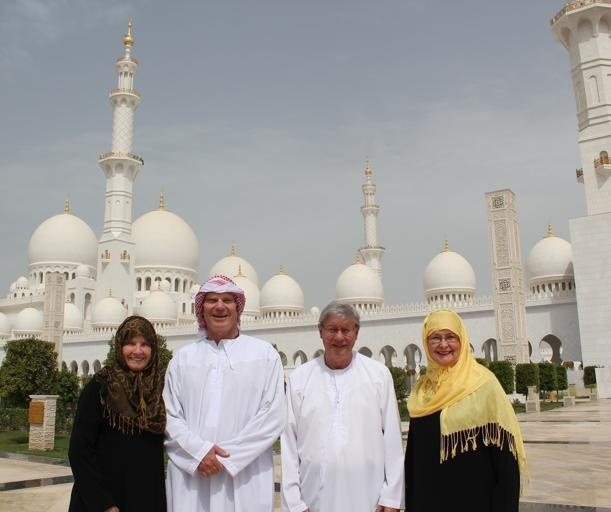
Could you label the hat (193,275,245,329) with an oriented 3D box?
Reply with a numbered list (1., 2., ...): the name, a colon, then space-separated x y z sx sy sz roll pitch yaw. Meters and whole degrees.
1. hat: -0.798 0.370 6.722 0.445 0.523 0.425 -7 -9 25
